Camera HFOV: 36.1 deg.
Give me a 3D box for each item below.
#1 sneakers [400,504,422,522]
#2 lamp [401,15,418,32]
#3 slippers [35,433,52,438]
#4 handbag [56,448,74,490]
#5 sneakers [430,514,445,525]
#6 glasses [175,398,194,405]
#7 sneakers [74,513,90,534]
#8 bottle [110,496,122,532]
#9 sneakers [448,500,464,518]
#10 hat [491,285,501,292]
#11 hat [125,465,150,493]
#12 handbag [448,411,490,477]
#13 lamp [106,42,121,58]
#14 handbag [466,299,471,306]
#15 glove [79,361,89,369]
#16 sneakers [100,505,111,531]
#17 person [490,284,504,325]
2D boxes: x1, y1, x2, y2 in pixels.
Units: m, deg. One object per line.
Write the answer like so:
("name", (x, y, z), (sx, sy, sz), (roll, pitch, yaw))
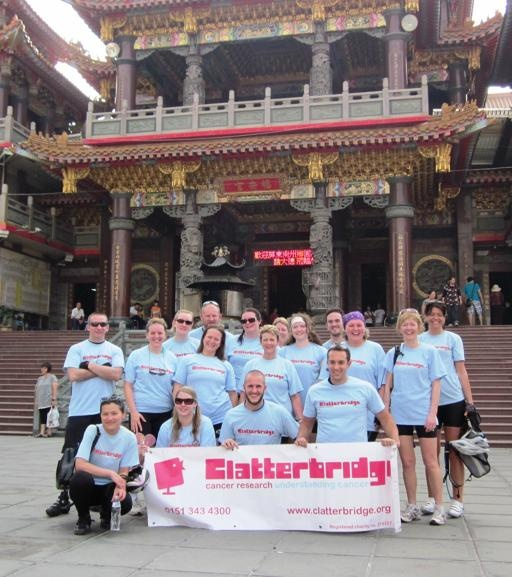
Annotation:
("sneakers", (1.290, 1.892, 6.545), (0.086, 0.099, 0.245), (-7, -21, 26))
("lamp", (3.774, -6.598, 19.478), (0.376, 0.491, 0.505), (1, 6, 9))
("slippers", (-3.489, 2.421, 12.835), (0.251, 0.056, 0.083), (4, -9, -2))
("handbag", (-1.588, 1.572, 6.546), (0.154, 0.395, 0.476), (-1, 6, -13))
("sneakers", (1.472, 1.871, 6.394), (0.117, 0.104, 0.157), (1, 6, 13))
("glasses", (-0.602, 0.954, 6.600), (0.156, 0.066, 0.055), (0, 6, -6))
("sneakers", (-1.375, 1.872, 6.195), (0.128, 0.145, 0.232), (-1, 6, -13))
("bottle", (-1.136, 1.814, 6.309), (0.084, 0.304, 0.228), (-1, 6, -10))
("sneakers", (1.696, 1.889, 6.694), (0.125, 0.135, 0.275), (2, 6, 16))
("hat", (6.203, -0.026, 20.388), (0.280, 0.106, 0.294), (-7, -16, 5))
("hat", (-0.982, 1.582, 6.513), (0.091, 0.155, 0.224), (12, 9, 7))
("handbag", (1.825, 1.393, 6.747), (0.330, 0.617, 0.427), (1, 6, 10))
("lamp", (-3.895, -6.452, 21.219), (0.366, 0.443, 0.447), (-1, 6, -11))
("handbag", (5.049, 0.353, 18.712), (0.104, 0.171, 0.097), (15, -27, -16))
("glove", (-1.554, 0.697, 7.051), (0.060, 0.061, 0.073), (5, -2, -8))
("sneakers", (-1.223, 1.853, 6.339), (0.084, 0.187, 0.156), (-1, 6, -11))
("person", (6.380, 0.447, 20.938), (0.336, 1.130, 1.566), (2, 6, 17))
